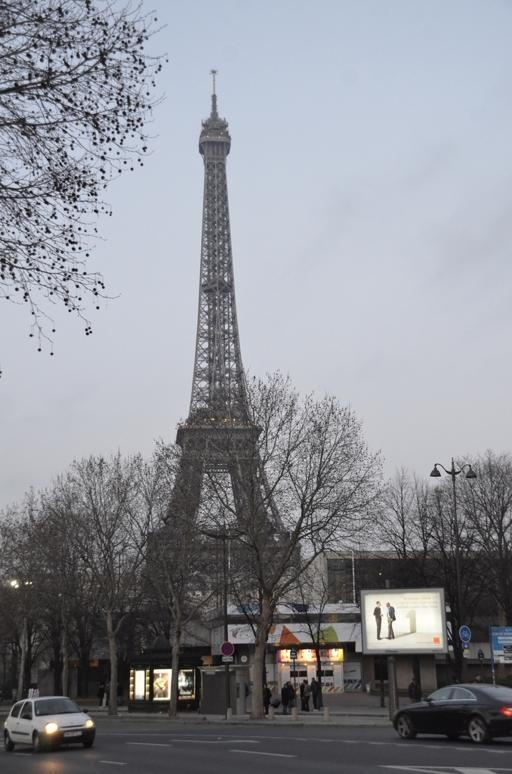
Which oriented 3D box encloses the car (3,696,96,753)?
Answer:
[{"bbox_3d":[-4.971,8.025,27.795,1.413,1.063,2.293,9,-28,-30],"label":"car"}]
